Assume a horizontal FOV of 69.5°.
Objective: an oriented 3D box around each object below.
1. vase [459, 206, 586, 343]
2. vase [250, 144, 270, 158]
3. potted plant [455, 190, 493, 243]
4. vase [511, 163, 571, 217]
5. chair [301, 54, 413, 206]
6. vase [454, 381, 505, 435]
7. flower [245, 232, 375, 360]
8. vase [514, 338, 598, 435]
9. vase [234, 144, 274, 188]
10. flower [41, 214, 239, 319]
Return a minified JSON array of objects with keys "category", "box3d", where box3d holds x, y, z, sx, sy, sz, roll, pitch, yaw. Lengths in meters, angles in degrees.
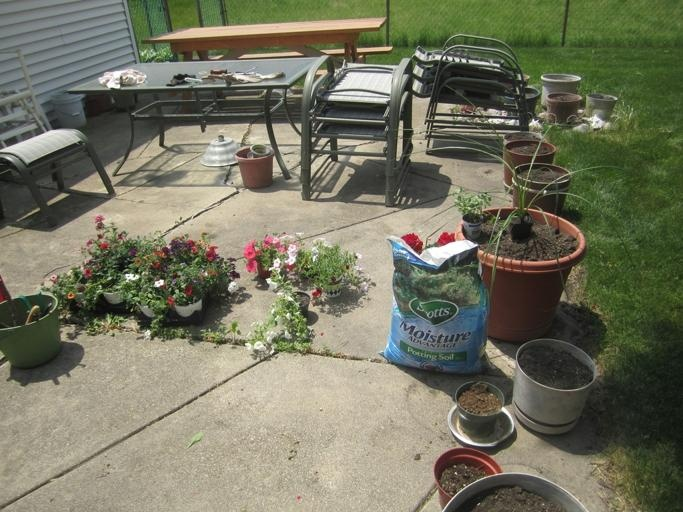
[{"category":"vase","box3d":[1.355,0.189,3.982,1.036,0.755,0.984,-4,31,3]},{"category":"vase","box3d":[-0.963,-1.229,5.913,0.205,0.080,0.184,0,46,2]},{"category":"potted plant","box3d":[1.030,-0.297,3.847,0.207,0.324,0.211,22,42,40]},{"category":"vase","box3d":[1.836,-0.596,4.520,0.535,0.422,0.569,-1,26,4]},{"category":"chair","box3d":[0.186,-1.386,5.681,1.167,1.538,1.600,3,36,6]},{"category":"vase","box3d":[0.875,0.930,3.131,0.274,0.223,0.325,2,20,8]},{"category":"flower","box3d":[-0.263,0.241,4.075,1.042,0.467,1.110,-5,30,-4]},{"category":"vase","box3d":[1.358,0.844,3.203,0.458,0.427,0.460,16,35,29]},{"category":"vase","box3d":[-0.949,-1.054,5.943,0.519,0.441,0.484,18,33,30]},{"category":"flower","box3d":[-1.636,0.146,4.150,1.466,0.565,0.718,4,31,11]}]
